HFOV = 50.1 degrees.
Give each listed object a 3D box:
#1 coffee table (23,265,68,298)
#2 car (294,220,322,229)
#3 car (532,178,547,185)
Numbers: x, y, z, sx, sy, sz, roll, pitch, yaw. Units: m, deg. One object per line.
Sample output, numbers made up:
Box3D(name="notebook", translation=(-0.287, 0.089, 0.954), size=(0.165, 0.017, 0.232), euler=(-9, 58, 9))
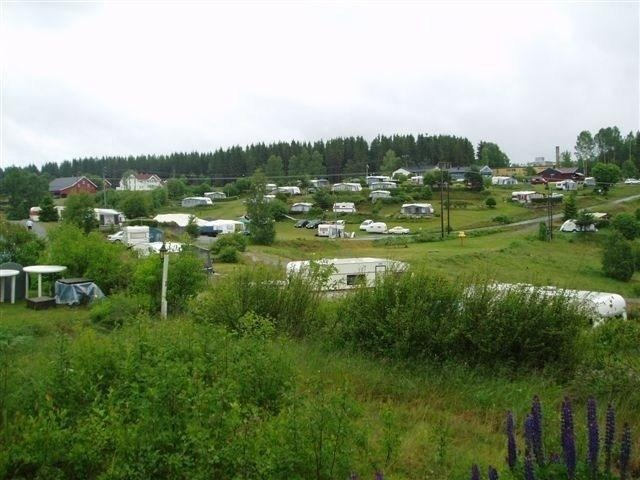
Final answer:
Box3D(name="coffee table", translation=(-8.391, 1.444, 20.834), size=(1.171, 0.961, 1.209), euler=(1, -1, 40))
Box3D(name="car", translation=(-1.214, -1.429, 66.215), size=(1.309, 0.778, 3.040), euler=(1, 2, -34))
Box3D(name="car", translation=(30.762, -8.524, 96.649), size=(1.276, 0.977, 1.940), euler=(-3, 1, -26))
